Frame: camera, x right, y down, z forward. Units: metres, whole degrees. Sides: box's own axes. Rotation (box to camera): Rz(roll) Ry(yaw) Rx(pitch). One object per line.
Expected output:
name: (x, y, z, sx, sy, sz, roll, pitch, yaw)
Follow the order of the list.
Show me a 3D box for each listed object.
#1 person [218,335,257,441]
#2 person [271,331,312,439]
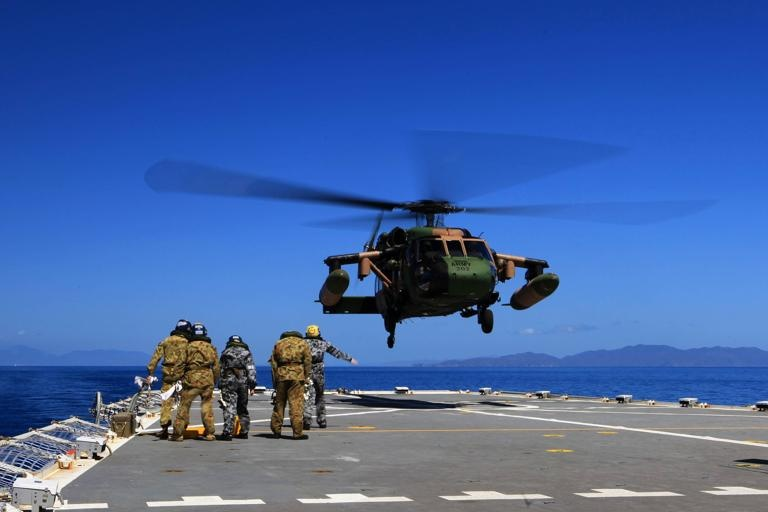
person: (-3.976, 3.270, 17.068, 1.085, 2.426, 1.228, -18, -26, 39)
person: (-2.158, 3.193, 17.162, 1.227, 2.560, 0.985, -12, -18, 30)
